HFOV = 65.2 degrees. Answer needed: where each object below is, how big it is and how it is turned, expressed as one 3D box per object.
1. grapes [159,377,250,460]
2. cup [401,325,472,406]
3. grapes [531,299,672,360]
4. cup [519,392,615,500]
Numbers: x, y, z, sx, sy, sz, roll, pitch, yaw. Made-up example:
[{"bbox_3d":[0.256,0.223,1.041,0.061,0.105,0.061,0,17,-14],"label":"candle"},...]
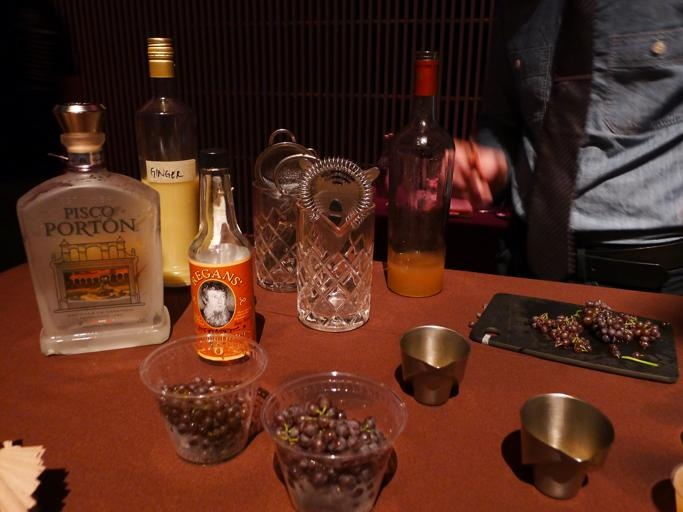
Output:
[{"bbox_3d":[-0.179,0.225,0.727,0.108,0.083,0.113,1,8,1],"label":"grapes"},{"bbox_3d":[0.148,0.165,0.850,0.097,0.093,0.126,3,23,3],"label":"cup"},{"bbox_3d":[0.466,0.098,0.948,0.163,0.056,0.117,13,23,38],"label":"grapes"},{"bbox_3d":[0.294,0.255,0.767,0.116,0.112,0.135,-5,32,-3],"label":"cup"}]
